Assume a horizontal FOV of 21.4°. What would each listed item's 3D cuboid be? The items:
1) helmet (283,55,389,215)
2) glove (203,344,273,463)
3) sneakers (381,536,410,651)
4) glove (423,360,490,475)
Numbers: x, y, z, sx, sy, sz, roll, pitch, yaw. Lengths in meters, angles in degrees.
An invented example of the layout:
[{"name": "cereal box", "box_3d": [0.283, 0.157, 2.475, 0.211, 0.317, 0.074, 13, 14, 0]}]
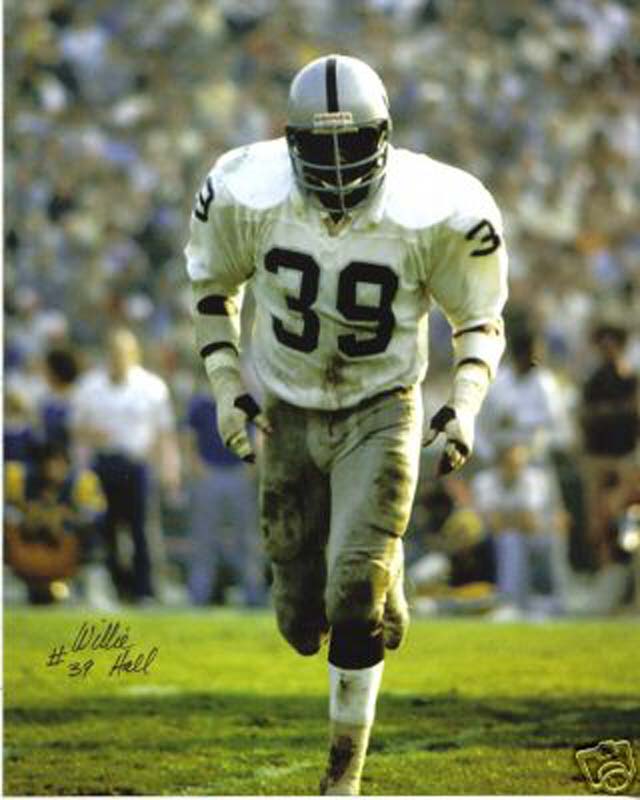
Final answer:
[{"name": "helmet", "box_3d": [0.051, -0.916, 5.682, 0.407, 0.496, 0.543, -3, 14, 7]}, {"name": "glove", "box_3d": [-0.269, 0.022, 5.707, 0.205, 0.397, 0.131, -25, -22, 23]}, {"name": "sneakers", "box_3d": [0.262, 0.637, 5.570, 0.088, 0.352, 0.108, 8, -2, -20]}, {"name": "glove", "box_3d": [0.486, 0.027, 5.628, 0.150, 0.469, 0.130, 29, -39, -5]}]
